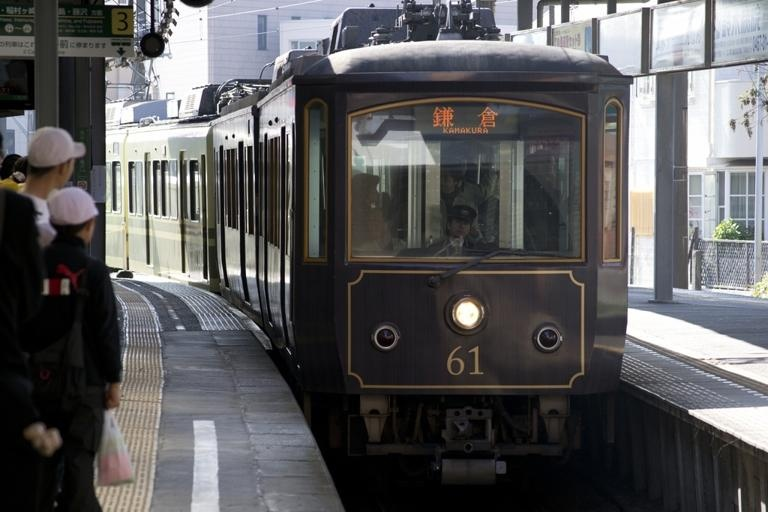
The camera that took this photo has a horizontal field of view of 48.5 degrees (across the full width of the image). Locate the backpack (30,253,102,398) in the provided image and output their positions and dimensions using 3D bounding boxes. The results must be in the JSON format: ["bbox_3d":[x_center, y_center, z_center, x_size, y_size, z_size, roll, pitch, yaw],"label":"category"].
[{"bbox_3d":[-1.984,0.479,5.209,0.359,0.830,0.072,0,4,2],"label":"backpack"}]

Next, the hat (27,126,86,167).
[{"bbox_3d":[-2.057,-0.641,5.309,0.303,0.190,0.248,-17,38,-17],"label":"hat"}]

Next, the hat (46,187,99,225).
[{"bbox_3d":[-1.938,-0.298,5.262,0.286,0.231,0.210,-2,5,-24],"label":"hat"}]
